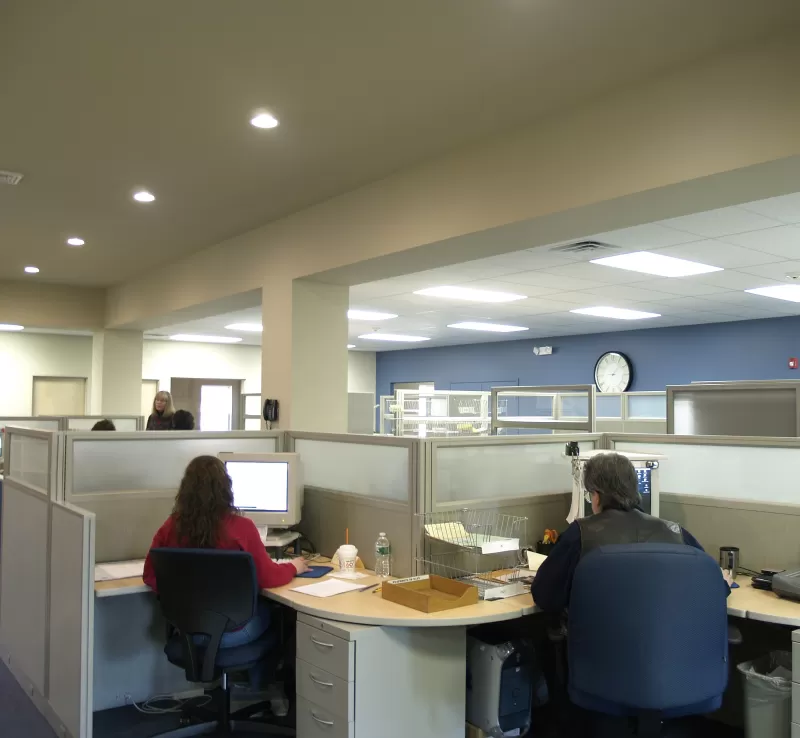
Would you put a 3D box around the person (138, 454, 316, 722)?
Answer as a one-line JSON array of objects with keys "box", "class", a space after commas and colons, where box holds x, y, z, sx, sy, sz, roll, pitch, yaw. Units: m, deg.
[{"box": [-0.729, 0.971, 2.745, 0.675, 1.131, 0.638, -3, -8, -5], "class": "person"}]

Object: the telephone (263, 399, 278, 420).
[{"box": [-0.897, 0.295, 4.510, 0.116, 0.156, 0.054, -1, -6, 39], "class": "telephone"}]

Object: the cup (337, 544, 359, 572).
[{"box": [-0.226, 0.849, 2.875, 0.109, 0.108, 0.101, -2, -2, 0], "class": "cup"}]

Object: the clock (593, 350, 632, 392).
[{"box": [3.141, 0.032, 9.336, 0.106, 0.620, 0.540, 11, -13, -29], "class": "clock"}]

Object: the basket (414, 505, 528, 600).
[{"box": [0.363, 0.786, 2.703, 0.291, 0.272, 0.217, -14, 4, -41], "class": "basket"}]

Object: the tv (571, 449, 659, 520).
[{"box": [0.945, 0.456, 2.892, 0.389, 0.359, 0.369, 3, -6, -29], "class": "tv"}]

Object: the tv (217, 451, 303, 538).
[{"box": [-0.734, 0.629, 3.152, 0.418, 0.405, 0.222, 8, -14, -34], "class": "tv"}]

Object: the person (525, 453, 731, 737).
[{"box": [0.776, 0.770, 2.349, 0.611, 0.938, 0.498, -3, 13, -5], "class": "person"}]
